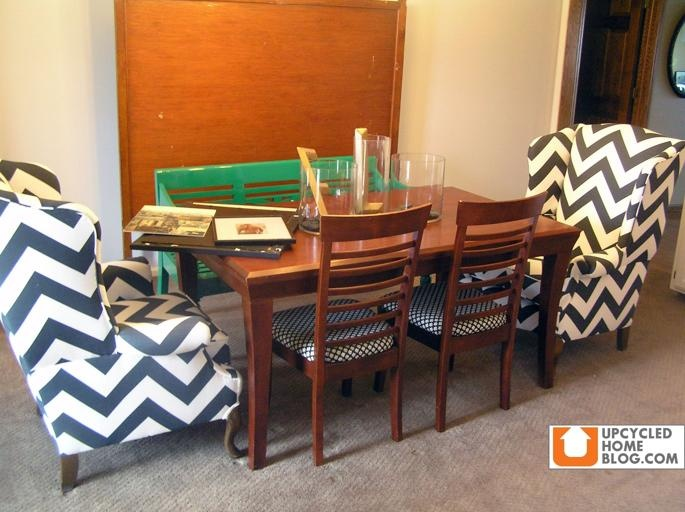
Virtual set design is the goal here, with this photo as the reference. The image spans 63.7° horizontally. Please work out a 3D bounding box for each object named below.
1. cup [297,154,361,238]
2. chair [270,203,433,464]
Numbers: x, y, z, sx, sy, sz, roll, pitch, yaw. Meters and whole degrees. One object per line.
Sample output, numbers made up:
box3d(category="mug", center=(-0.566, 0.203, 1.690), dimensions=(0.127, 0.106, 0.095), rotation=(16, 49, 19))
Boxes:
box3d(category="cup", center=(-0.079, -0.261, 2.466), dimensions=(0.298, 0.349, 0.297), rotation=(1, 10, 0))
box3d(category="chair", center=(0.021, 0.255, 2.397), dimensions=(0.702, 1.111, 0.558), rotation=(-20, 29, -25))
